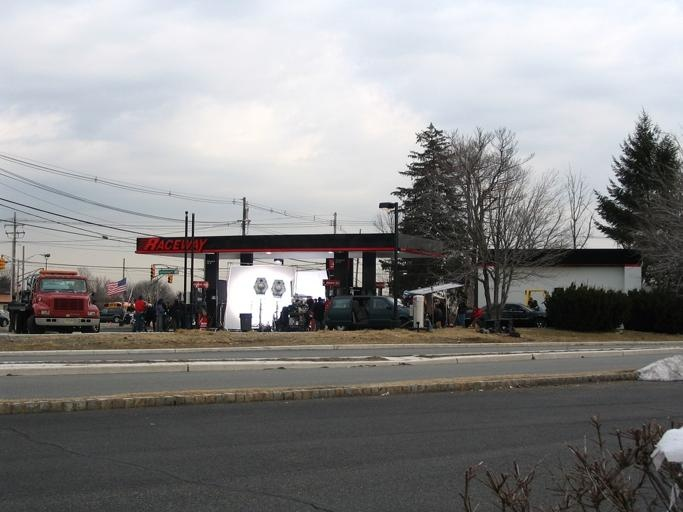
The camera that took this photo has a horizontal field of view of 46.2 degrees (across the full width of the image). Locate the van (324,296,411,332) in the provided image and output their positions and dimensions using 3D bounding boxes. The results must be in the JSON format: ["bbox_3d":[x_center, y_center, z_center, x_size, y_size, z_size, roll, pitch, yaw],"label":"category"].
[{"bbox_3d":[1.024,2.653,35.756,3.653,1.572,1.612,0,-1,-6],"label":"van"}]

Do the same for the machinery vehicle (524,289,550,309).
[{"bbox_3d":[12.235,2.510,49.433,1.620,1.602,1.228,-1,-5,5],"label":"machinery vehicle"}]

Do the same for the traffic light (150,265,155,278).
[{"bbox_3d":[-13.571,1.153,57.152,0.222,0.901,0.858,2,-3,-20],"label":"traffic light"}]

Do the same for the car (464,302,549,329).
[{"bbox_3d":[9.804,3.271,43.358,3.925,1.345,1.489,0,-1,-7],"label":"car"}]

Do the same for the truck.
[{"bbox_3d":[-12.798,2.020,34.812,3.648,2.740,2.511,0,-3,12],"label":"truck"}]
